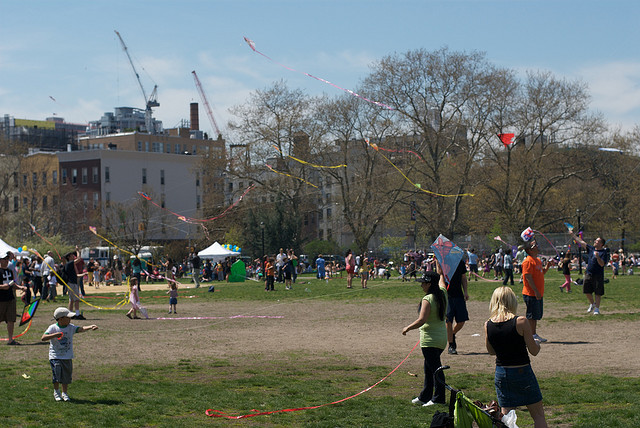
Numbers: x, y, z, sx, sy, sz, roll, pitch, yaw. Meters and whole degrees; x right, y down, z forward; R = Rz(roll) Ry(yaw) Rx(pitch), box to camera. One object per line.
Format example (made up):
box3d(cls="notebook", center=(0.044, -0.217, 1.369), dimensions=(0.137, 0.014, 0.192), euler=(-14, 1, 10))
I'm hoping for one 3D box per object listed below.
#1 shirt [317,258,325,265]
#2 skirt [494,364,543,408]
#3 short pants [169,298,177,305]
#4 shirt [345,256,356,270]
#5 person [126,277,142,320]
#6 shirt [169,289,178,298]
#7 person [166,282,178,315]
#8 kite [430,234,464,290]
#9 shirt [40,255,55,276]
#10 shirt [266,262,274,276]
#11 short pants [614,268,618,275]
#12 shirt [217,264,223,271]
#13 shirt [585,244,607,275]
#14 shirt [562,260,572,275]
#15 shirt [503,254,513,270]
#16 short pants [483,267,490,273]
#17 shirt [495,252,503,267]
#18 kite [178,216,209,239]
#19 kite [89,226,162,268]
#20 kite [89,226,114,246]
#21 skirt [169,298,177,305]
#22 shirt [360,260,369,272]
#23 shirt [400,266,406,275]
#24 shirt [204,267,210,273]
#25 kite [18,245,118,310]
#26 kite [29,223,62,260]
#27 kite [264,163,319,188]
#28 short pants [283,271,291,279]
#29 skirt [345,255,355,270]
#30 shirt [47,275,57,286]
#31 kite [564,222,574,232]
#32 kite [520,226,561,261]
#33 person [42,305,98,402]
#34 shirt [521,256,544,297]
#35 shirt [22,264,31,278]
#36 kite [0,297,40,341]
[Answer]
box3d(cls="shirt", center=(0.010, 3.250, 80.472), dimensions=(0.618, 0.691, 0.397), euler=(0, 4, -3))
box3d(cls="skirt", center=(8.272, 7.208, 48.302), dimensions=(1.825, 1.638, 1.078), euler=(-4, -3, 25))
box3d(cls="short pants", center=(-7.900, 4.598, 61.367), dimensions=(0.504, 0.434, 0.283), euler=(1, -5, -11))
box3d(cls="shirt", center=(1.794, 2.973, 71.442), dimensions=(0.641, 0.995, 0.766), euler=(-3, 4, -37))
box3d(cls="person", center=(-9.756, 4.324, 59.949), dimensions=(0.647, 2.198, 0.971), euler=(0, -3, -16))
box3d(cls="shirt", center=(-7.842, 4.167, 61.441), dimensions=(0.552, 0.665, 0.396), euler=(1, -9, -7))
box3d(cls="person", center=(-7.920, 4.432, 61.479), dimensions=(0.412, 1.729, 1.389), euler=(-1, -3, -8))
box3d(cls="kite", center=(5.775, 2.132, 52.411), dimensions=(1.417, 2.415, 1.050), euler=(1, -3, -43))
box3d(cls="shirt", center=(-15.494, 2.902, 64.941), dimensions=(1.164, 1.037, 0.650), euler=(5, 10, 38))
box3d(cls="shirt", center=(-3.108, 3.265, 69.896), dimensions=(0.341, 0.841, 0.686), euler=(-1, -3, -3))
box3d(cls="short pants", center=(18.854, 3.616, 72.837), dimensions=(0.363, 0.377, 0.354), euler=(-1, -5, 7))
box3d(cls="shirt", center=(-7.089, 3.686, 81.053), dimensions=(0.480, 0.645, 0.358), euler=(1, 5, 4))
box3d(cls="shirt", center=(13.771, 2.226, 57.343), dimensions=(0.973, 1.489, 1.578), euler=(-2, -3, 12))
box3d(cls="shirt", center=(13.929, 2.944, 64.949), dimensions=(0.316, 0.811, 0.377), euler=(-2, -3, 13))
box3d(cls="shirt", center=(11.312, 2.831, 69.165), dimensions=(0.451, 0.873, 1.348), euler=(-1, -3, 9))
box3d(cls="short pants", center=(11.287, 3.718, 78.051), dimensions=(0.230, 0.140, 0.417), euler=(37, -26, 26))
box3d(cls="shirt", center=(11.772, 2.965, 75.831), dimensions=(0.454, 0.779, 0.825), euler=(1, 1, 36))
box3d(cls="kite", center=(-12.258, 1.180, 109.614), dimensions=(3.288, 0.466, 1.011), euler=(24, -35, -1))
box3d(cls="kite", center=(-16.528, 2.700, 95.457), dimensions=(5.838, 0.625, 0.493), euler=(32, 25, 18))
box3d(cls="kite", center=(-18.502, 1.769, 96.962), dimensions=(2.734, 0.975, 0.201), euler=(37, 1, -17))
box3d(cls="skirt", center=(-7.887, 4.578, 61.391), dimensions=(0.510, 0.440, 0.283), euler=(3, 9, 2))
box3d(cls="shirt", center=(2.647, 3.159, 70.157), dimensions=(0.335, 0.681, 1.019), euler=(-1, -3, 8))
box3d(cls="shirt", center=(5.671, 3.827, 79.409), dimensions=(0.564, 0.520, 0.321), euler=(-2, -6, 30))
box3d(cls="shirt", center=(-8.019, 3.844, 80.930), dimensions=(0.132, 0.401, 0.595), euler=(0, -3, -31))
box3d(cls="kite", center=(-15.415, 3.843, 69.168), dimensions=(0.791, 0.639, 6.016), euler=(-25, -41, 34))
box3d(cls="kite", center=(-20.350, 1.941, 84.314), dimensions=(3.344, 0.482, 0.344), euler=(43, 31, 3))
box3d(cls="kite", center=(-2.639, -3.330, 95.564), dimensions=(5.192, 0.719, 0.320), euler=(22, 37, 15))
box3d(cls="short pants", center=(-2.079, 3.738, 71.646), dimensions=(0.440, 0.304, 0.421), euler=(2, -5, -21))
box3d(cls="skirt", center=(1.806, 3.001, 71.206), dimensions=(0.810, 0.981, 0.623), euler=(0, 0, 6))
box3d(cls="shirt", center=(-15.396, 3.755, 65.690), dimensions=(0.425, 0.678, 0.749), euler=(-4, -4, 39))
box3d(cls="kite", center=(17.398, 0.802, 80.272), dimensions=(0.700, 0.150, 0.715), euler=(29, -10, -16))
box3d(cls="kite", center=(12.142, 1.453, 63.548), dimensions=(2.571, 1.291, 0.749), euler=(29, 31, -8))
box3d(cls="person", center=(-11.334, 6.093, 50.303), dimensions=(1.585, 4.034, 0.575), euler=(-1, -3, -12))
box3d(cls="shirt", center=(9.870, 2.819, 53.363), dimensions=(1.046, 1.750, 1.835), euler=(-1, -3, 22))
box3d(cls="shirt", center=(-16.468, 3.089, 63.997), dimensions=(0.422, 0.680, 0.756), euler=(-14, -1, 10))
box3d(cls="kite", center=(-14.738, 4.893, 55.547), dimensions=(0.536, 1.895, 1.960), euler=(12, -4, 23))
